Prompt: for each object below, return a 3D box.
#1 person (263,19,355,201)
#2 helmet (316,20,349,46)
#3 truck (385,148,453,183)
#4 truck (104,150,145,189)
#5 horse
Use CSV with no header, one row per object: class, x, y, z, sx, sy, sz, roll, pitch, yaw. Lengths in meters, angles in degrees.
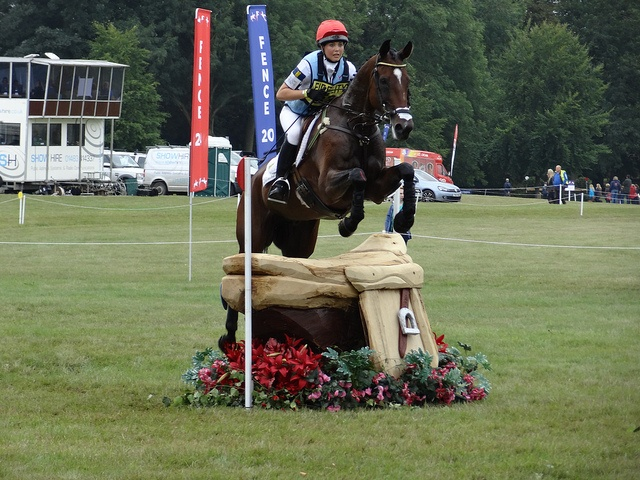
person,0.028,-1.697,13.095,1.441,2.353,1.090,10,5,32
helmet,0.151,-2.720,12.798,0.304,0.282,0.368,-1,0,-20
truck,4.103,-3.397,40.746,3.901,1.892,1.593,2,1,-40
truck,-7.791,-2.871,38.440,1.463,1.373,3.384,0,2,-13
horse,0.014,-0.528,13.562,1.092,2.710,4.394,4,-19,-29
